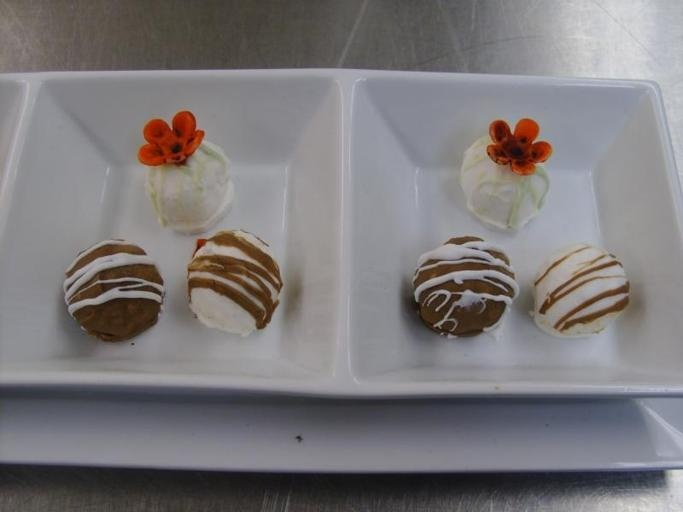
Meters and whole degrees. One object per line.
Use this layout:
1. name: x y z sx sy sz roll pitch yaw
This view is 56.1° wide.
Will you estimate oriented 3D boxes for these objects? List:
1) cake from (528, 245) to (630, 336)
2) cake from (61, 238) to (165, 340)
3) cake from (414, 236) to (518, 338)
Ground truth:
1. cake: 0.705 0.111 1.910 0.252 0.201 0.199 0 41 3
2. cake: -0.657 0.108 1.875 0.269 0.229 0.207 -19 44 -18
3. cake: 0.361 0.103 1.866 0.296 0.238 0.188 3 41 6
